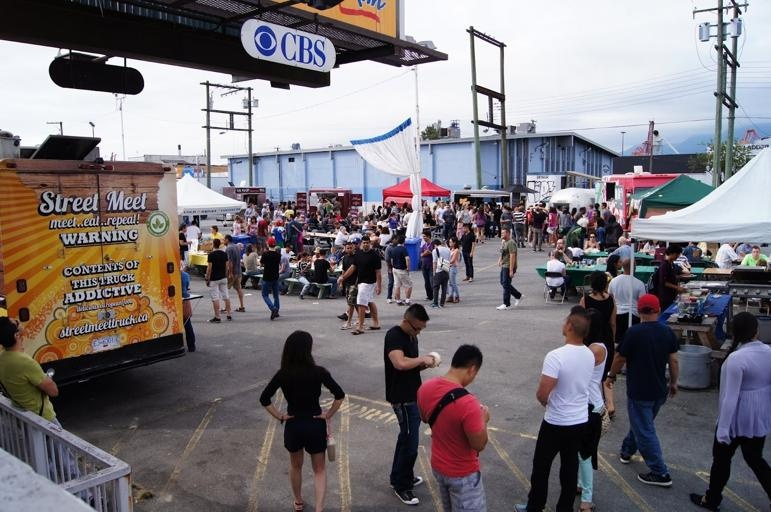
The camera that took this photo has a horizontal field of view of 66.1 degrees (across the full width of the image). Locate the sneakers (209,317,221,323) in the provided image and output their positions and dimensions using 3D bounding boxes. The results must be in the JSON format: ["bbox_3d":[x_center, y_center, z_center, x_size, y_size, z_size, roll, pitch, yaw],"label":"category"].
[{"bbox_3d":[-4.489,1.674,15.599,0.301,0.132,0.124,3,0,7],"label":"sneakers"}]

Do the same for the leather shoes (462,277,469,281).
[{"bbox_3d":[2.852,0.805,21.208,0.113,0.139,0.321,-3,-6,17],"label":"leather shoes"}]

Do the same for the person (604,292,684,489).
[{"bbox_3d":[3.527,1.851,8.139,0.876,2.628,0.292,0,7,15],"label":"person"}]

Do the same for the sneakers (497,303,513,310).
[{"bbox_3d":[3.340,1.421,16.688,0.416,0.180,0.154,3,-5,-10],"label":"sneakers"}]

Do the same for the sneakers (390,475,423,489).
[{"bbox_3d":[0.278,3.116,8.326,0.458,0.186,0.171,0,12,14],"label":"sneakers"}]

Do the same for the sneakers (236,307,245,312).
[{"bbox_3d":[-4.136,1.490,16.885,0.125,0.138,0.313,-2,6,-35],"label":"sneakers"}]

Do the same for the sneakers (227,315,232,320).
[{"bbox_3d":[-4.189,1.628,15.884,0.116,0.141,0.334,-3,7,-13],"label":"sneakers"}]

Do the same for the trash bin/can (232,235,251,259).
[{"bbox_3d":[-5.194,-0.343,21.235,0.878,0.969,0.877,-3,7,-20],"label":"trash bin/can"}]

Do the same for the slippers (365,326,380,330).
[{"bbox_3d":[-0.293,1.772,14.837,0.341,0.090,0.252,-2,6,-2],"label":"slippers"}]

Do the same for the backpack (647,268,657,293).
[{"bbox_3d":[6.266,0.580,13.953,0.228,0.438,0.448,12,15,41],"label":"backpack"}]

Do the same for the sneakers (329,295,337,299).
[{"bbox_3d":[-1.700,1.282,19.006,0.300,0.130,0.103,-1,29,-13],"label":"sneakers"}]

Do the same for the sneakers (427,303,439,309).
[{"bbox_3d":[1.364,1.426,17.140,0.130,0.143,0.328,-2,-4,-13],"label":"sneakers"}]

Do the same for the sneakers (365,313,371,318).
[{"bbox_3d":[-0.512,1.632,16.414,0.194,0.191,0.145,3,-10,-22],"label":"sneakers"}]

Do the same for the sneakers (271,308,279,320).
[{"bbox_3d":[-2.978,1.559,15.949,0.126,0.347,0.143,19,-11,-27],"label":"sneakers"}]

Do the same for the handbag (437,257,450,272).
[{"bbox_3d":[1.607,0.209,16.633,0.294,0.279,0.166,30,-25,-26],"label":"handbag"}]

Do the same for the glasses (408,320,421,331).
[{"bbox_3d":[0.386,0.919,7.734,0.144,0.044,0.149,6,29,-33],"label":"glasses"}]

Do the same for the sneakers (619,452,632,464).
[{"bbox_3d":[3.501,2.956,8.662,0.092,0.104,0.243,2,0,22],"label":"sneakers"}]

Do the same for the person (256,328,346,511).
[{"bbox_3d":[-1.033,2.144,7.500,1.002,2.446,0.423,-2,7,-5],"label":"person"}]

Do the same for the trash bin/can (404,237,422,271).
[{"bbox_3d":[1.136,-0.006,22.583,0.865,1.193,0.924,11,-7,5],"label":"trash bin/can"}]

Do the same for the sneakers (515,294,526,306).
[{"bbox_3d":[3.888,1.305,17.235,0.193,0.179,0.492,33,36,11],"label":"sneakers"}]

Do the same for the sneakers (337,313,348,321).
[{"bbox_3d":[-1.153,1.610,15.801,0.154,0.133,0.290,1,3,-28],"label":"sneakers"}]

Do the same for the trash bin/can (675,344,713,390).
[{"bbox_3d":[5.691,2.096,10.979,0.611,0.653,0.620,0,-1,-17],"label":"trash bin/can"}]

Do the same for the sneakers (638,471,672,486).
[{"bbox_3d":[3.705,3.060,8.205,0.444,0.213,0.182,4,0,18],"label":"sneakers"}]

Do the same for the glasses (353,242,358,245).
[{"bbox_3d":[-0.964,-0.405,18.773,0.193,0.083,0.312,1,7,16],"label":"glasses"}]
